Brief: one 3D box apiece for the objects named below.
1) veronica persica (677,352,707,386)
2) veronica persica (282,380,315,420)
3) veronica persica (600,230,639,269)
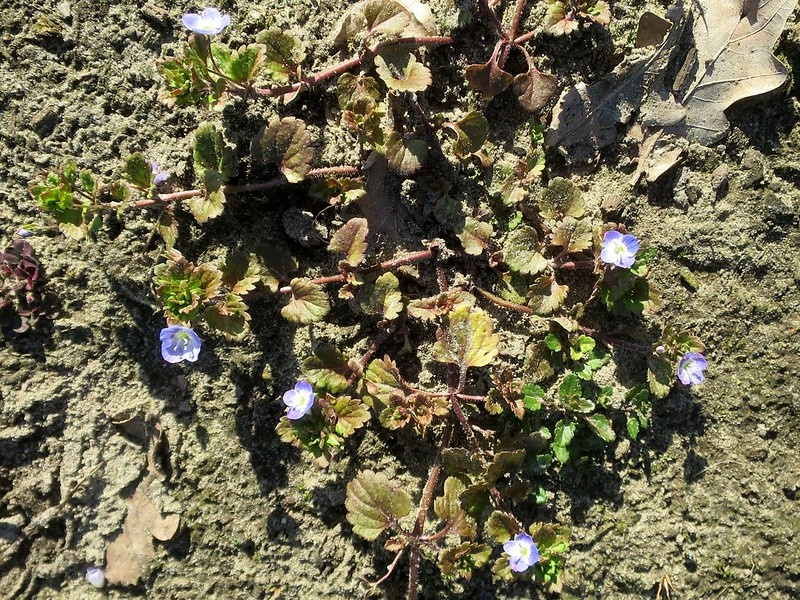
[{"bbox_3d":[1.688,0.413,5.312,0.135,0.102,0.202,0,83,6],"label":"veronica persica"},{"bbox_3d":[-0.577,0.574,5.272,0.168,0.098,0.217,-5,75,19],"label":"veronica persica"},{"bbox_3d":[1.259,-0.289,5.284,0.178,0.128,0.240,4,88,21],"label":"veronica persica"}]
